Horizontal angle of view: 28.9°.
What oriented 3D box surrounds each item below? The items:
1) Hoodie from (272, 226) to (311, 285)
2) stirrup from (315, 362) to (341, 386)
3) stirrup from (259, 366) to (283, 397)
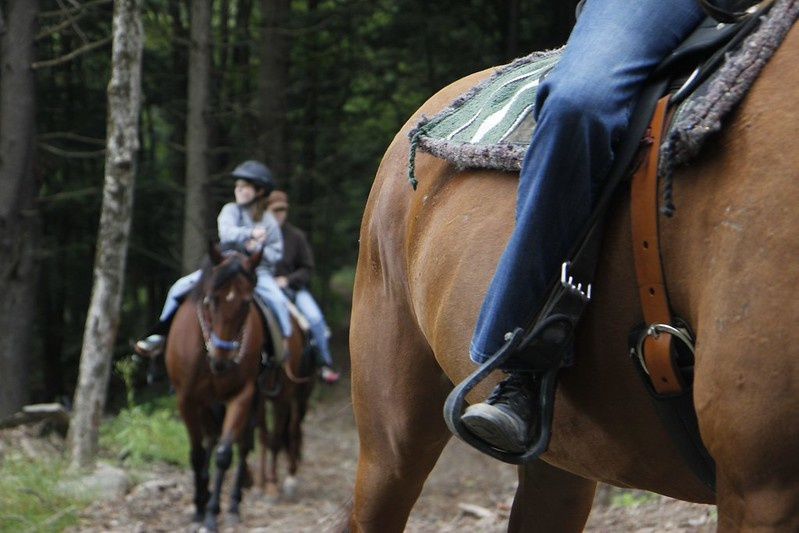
[{"bbox_3d":[-0.798,-0.078,11.474,0.401,0.408,0.239,-4,-4,24],"label":"Hoodie"},{"bbox_3d":[-0.534,0.822,11.970,0.112,0.085,0.207,17,-5,5],"label":"stirrup"},{"bbox_3d":[-0.889,0.790,10.935,0.156,0.222,0.071,-1,5,0],"label":"stirrup"}]
